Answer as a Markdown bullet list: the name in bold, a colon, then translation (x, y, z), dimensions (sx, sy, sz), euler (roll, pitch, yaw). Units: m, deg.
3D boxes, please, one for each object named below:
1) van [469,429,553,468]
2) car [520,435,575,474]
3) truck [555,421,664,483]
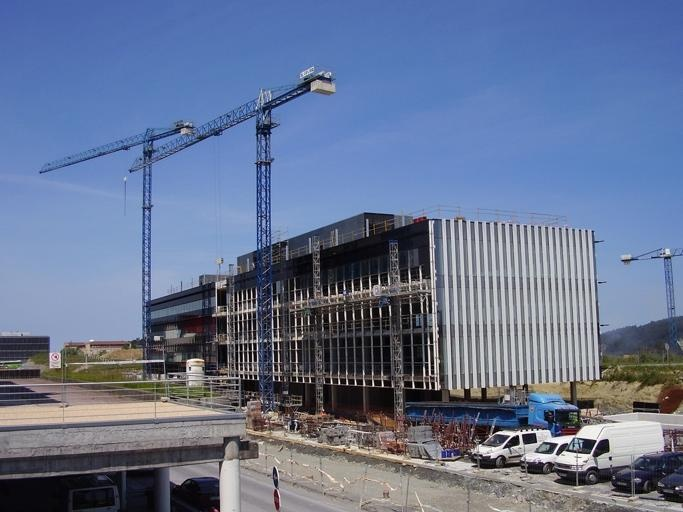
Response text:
- **van**: translation (11.977, 13.096, 51.167), dimensions (5.579, 2.113, 2.639), euler (1, -7, -25)
- **car**: translation (14.205, 13.212, 49.041), dimensions (4.974, 1.995, 2.134), euler (4, -7, -35)
- **truck**: translation (16.903, 12.214, 46.401), dimensions (7.241, 3.455, 2.950), euler (0, -5, -23)
